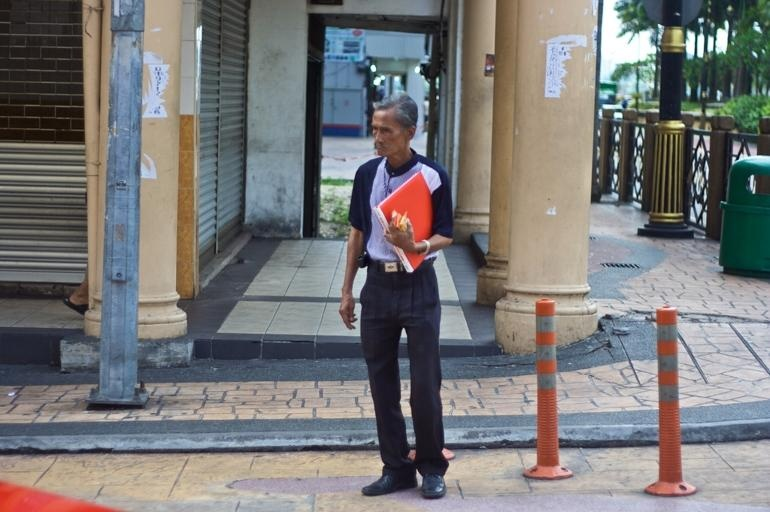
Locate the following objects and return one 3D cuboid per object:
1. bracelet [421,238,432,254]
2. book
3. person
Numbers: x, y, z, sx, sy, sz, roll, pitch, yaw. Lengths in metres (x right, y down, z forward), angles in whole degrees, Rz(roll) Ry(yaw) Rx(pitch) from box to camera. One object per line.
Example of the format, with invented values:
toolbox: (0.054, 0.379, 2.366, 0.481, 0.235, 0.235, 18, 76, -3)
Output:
bracelet: (0.307, -0.061, 6.588, 0.082, 0.084, 0.087, -2, 8, 18)
book: (0.162, -0.234, 6.601, 0.436, 0.706, 0.207, -10, 14, -43)
person: (0.068, 0.294, 6.771, 0.827, 2.913, 0.644, 2, 10, 18)
